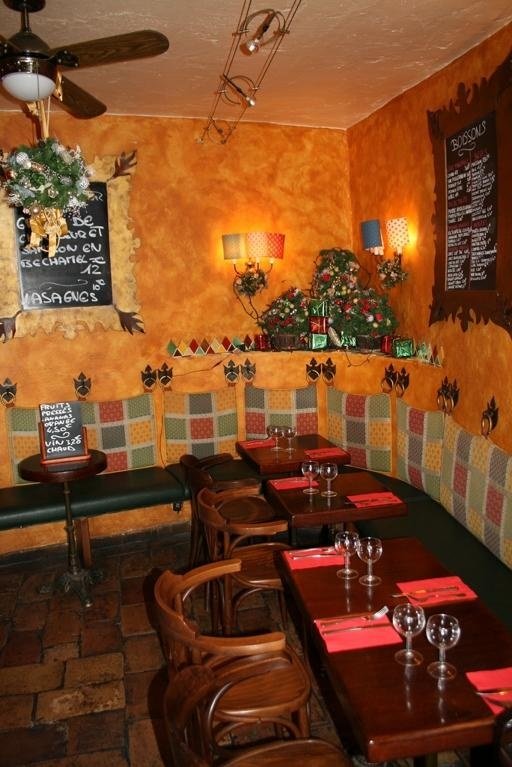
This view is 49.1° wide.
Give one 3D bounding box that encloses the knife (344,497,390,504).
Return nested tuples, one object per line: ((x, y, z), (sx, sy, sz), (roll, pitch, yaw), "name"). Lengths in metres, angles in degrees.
((0.559, 0.583, 2.811), (0.198, 0.010, 0.096), (0, 6, 22), "knife")

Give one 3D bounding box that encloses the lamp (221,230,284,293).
((-0.019, -0.981, 4.673), (0.496, 0.505, 0.387), (-3, 6, -3), "lamp")

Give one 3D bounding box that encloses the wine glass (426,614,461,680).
((0.496, 0.681, 1.486), (0.076, 0.132, 0.206), (0, 6, 20), "wine glass")

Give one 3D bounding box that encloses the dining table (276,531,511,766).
((0.415, 0.810, 1.713), (0.444, 0.205, 0.865), (-2, 4, -9), "dining table")

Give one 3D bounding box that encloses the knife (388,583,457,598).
((0.564, 0.694, 1.884), (0.214, 0.018, 0.069), (-5, 2, 1), "knife")

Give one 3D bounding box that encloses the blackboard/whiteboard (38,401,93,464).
((-1.231, 0.320, 3.580), (0.392, 0.526, 0.120), (-3, 3, -25), "blackboard/whiteboard")

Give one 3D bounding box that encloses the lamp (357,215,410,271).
((0.963, -1.082, 4.189), (0.216, 0.323, 0.513), (-4, 6, -12), "lamp")
